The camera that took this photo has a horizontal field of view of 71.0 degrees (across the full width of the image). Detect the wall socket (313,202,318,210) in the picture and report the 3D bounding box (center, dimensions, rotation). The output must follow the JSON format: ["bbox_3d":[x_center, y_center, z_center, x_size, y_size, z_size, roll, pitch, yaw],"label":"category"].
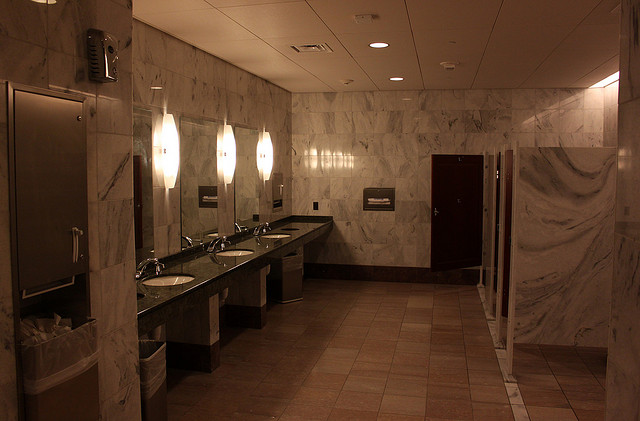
[{"bbox_3d":[-0.075,-0.086,7.891,0.023,0.099,0.094,1,-3,-40],"label":"wall socket"}]

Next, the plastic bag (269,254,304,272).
[{"bbox_3d":[-0.463,0.769,6.537,0.300,0.205,0.312,1,-3,-33],"label":"plastic bag"}]

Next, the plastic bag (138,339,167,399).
[{"bbox_3d":[-1.231,1.153,3.320,0.209,0.416,0.269,0,11,1],"label":"plastic bag"}]

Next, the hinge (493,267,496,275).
[{"bbox_3d":[2.168,0.750,5.598,0.032,0.125,0.119,3,8,20],"label":"hinge"}]
